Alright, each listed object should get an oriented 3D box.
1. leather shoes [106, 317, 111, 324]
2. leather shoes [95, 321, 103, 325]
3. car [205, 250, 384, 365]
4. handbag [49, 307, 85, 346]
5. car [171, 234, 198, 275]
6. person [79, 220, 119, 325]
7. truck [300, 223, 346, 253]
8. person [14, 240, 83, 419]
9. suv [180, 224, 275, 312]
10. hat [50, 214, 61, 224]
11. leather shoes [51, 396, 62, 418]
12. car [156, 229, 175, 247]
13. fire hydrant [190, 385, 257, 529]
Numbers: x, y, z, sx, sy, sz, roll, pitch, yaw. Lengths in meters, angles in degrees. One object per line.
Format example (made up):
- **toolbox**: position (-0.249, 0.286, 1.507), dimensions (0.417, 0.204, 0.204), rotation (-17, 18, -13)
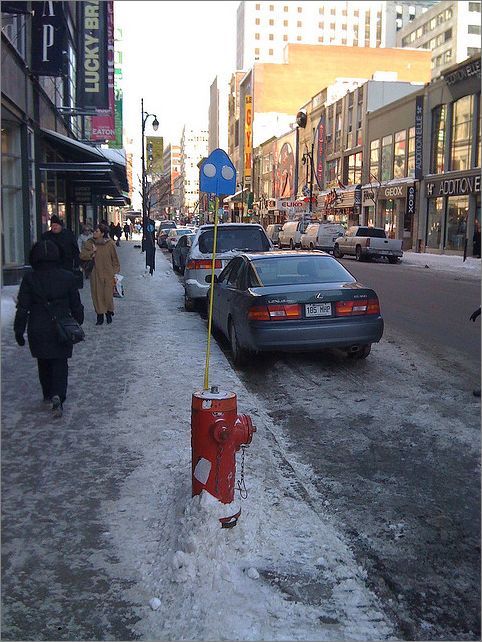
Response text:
- **leather shoes**: position (-2.649, -0.034, 9.787), dimensions (0.055, 0.143, 0.056), rotation (0, 7, -12)
- **leather shoes**: position (-2.803, 0.018, 9.666), dimensions (0.087, 0.104, 0.141), rotation (-3, -1, -30)
- **car**: position (0.734, -0.188, 7.233), dimensions (1.826, 1.624, 2.418), rotation (-4, 13, -17)
- **handbag**: position (-1.682, 0.028, 4.705), dimensions (0.298, 0.377, 0.279), rotation (-10, 15, -41)
- **car**: position (-2.633, -2.955, 22.242), dimensions (1.280, 1.918, 3.686), rotation (0, 17, -5)
- **person**: position (-2.897, -0.950, 10.048), dimensions (0.726, 2.051, 1.424), rotation (-4, 12, -19)
- **truck**: position (5.911, -6.209, 36.607), dimensions (2.089, 2.631, 4.610), rotation (-1, 16, -10)
- **person**: position (-1.854, 0.059, 4.743), dimensions (0.645, 1.661, 0.693), rotation (-5, 12, -26)
- **suv**: position (-0.271, -1.010, 9.048), dimensions (1.338, 1.637, 3.540), rotation (-1, 10, -3)
- **hat**: position (-4.259, -2.352, 11.211), dimensions (0.207, 0.209, 0.372), rotation (-5, 14, -24)
- **leather shoes**: position (-1.720, 0.804, 4.563), dimensions (0.066, 0.202, 0.245), rotation (0, 5, -10)
- **car**: position (-7.963, -8.512, 49.477), dimensions (1.516, 1.719, 4.025), rotation (1, 18, -4)
- **fire hydrant**: position (-0.087, 0.646, 2.495), dimensions (0.329, 0.646, 0.295), rotation (-2, 11, -12)
